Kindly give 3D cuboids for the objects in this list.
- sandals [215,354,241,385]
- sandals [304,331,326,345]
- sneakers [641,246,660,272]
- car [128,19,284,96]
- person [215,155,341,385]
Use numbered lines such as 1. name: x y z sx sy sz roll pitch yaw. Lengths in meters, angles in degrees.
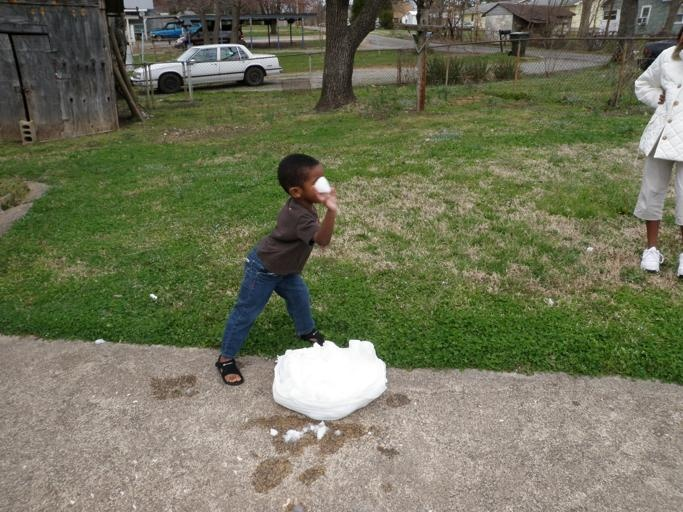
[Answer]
1. sandals: -0.841 0.863 4.030 0.120 0.098 0.256 -8 28 -29
2. sandals: -0.215 0.666 4.332 0.206 0.100 0.078 3 16 0
3. sneakers: 2.943 0.034 5.070 0.120 0.132 0.287 3 23 18
4. car: -4.640 -6.511 18.439 4.895 1.421 1.758 -23 33 -39
5. person: -0.364 0.131 3.973 1.001 1.716 0.795 -15 31 -36
